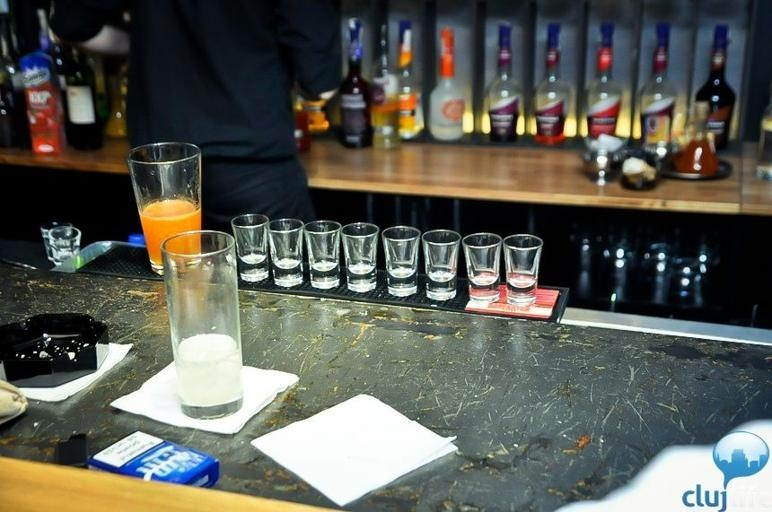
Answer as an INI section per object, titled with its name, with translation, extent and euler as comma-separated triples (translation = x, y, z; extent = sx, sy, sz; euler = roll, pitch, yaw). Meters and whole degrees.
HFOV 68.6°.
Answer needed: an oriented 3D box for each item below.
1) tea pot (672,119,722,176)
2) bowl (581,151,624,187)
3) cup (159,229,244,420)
[tea pot]
translation = 1.070, -0.359, 1.913
extent = 0.174, 0.191, 0.167
euler = -1, 12, 0
[bowl]
translation = 0.758, -0.320, 2.012
extent = 0.129, 0.116, 0.210
euler = 3, 12, 17
[cup]
translation = -0.270, 0.102, 0.855
extent = 0.100, 0.273, 0.093
euler = -1, 13, 0
